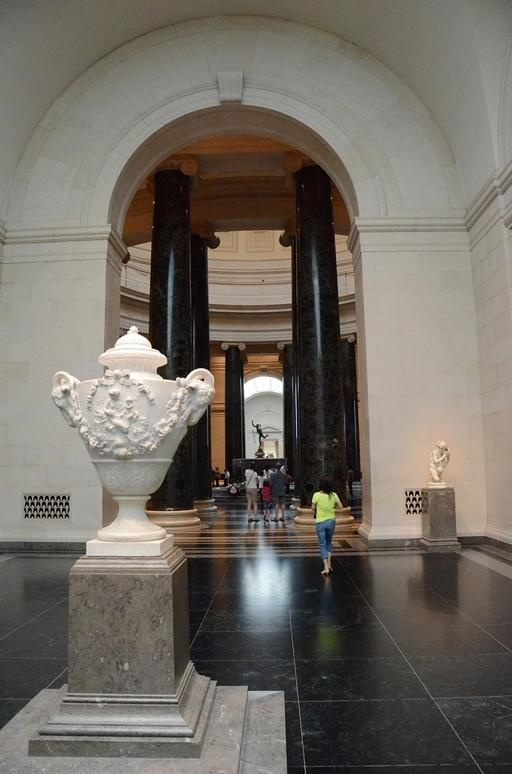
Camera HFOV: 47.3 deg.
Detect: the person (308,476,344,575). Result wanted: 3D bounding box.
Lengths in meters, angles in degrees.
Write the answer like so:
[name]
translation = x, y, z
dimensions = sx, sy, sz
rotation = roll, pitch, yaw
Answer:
[person]
translation = 0.883, 1.695, 7.219
dimensions = 0.335, 1.151, 0.953
rotation = 0, -4, 6
